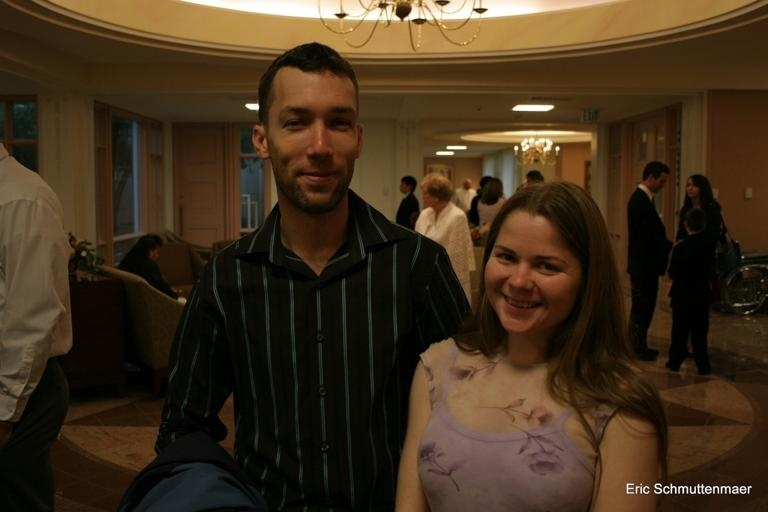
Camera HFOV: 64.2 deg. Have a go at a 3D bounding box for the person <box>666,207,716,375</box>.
[{"bbox_3d":[2.874,0.330,5.721,0.407,1.541,0.369,1,7,-9],"label":"person"}]

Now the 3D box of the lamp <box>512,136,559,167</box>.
[{"bbox_3d":[4.008,-2.700,16.222,1.025,0.642,1.098,4,18,16],"label":"lamp"}]

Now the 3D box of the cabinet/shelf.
[{"bbox_3d":[-2.527,0.749,5.509,0.724,0.965,0.721,-20,-20,37],"label":"cabinet/shelf"}]
